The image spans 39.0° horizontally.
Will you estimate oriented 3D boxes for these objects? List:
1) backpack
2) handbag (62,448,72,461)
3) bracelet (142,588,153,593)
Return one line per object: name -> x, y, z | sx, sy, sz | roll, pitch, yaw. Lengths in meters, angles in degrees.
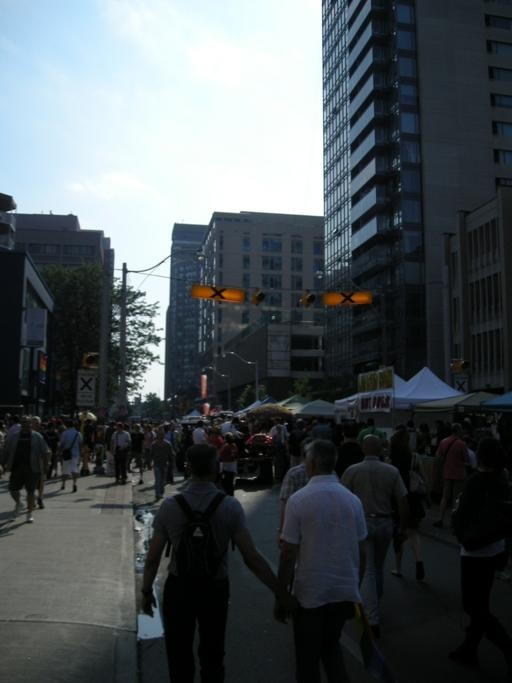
backpack -> -0.307, 1.043, 3.819 | 0.251, 0.432, 0.240 | -1, -14, -1
handbag -> -4.547, 2.728, 17.388 | 0.191, 0.344, 0.186 | -7, -24, 8
bracelet -> -0.582, 1.337, 3.866 | 0.039, 0.016, 0.035 | 0, -3, 1
